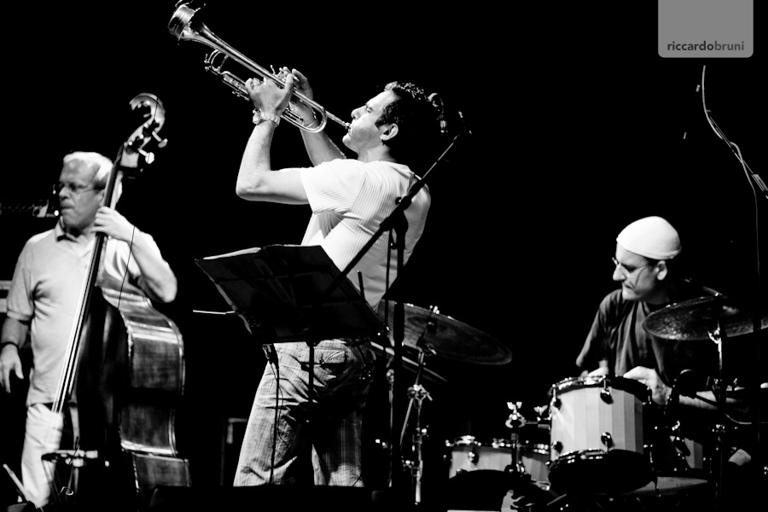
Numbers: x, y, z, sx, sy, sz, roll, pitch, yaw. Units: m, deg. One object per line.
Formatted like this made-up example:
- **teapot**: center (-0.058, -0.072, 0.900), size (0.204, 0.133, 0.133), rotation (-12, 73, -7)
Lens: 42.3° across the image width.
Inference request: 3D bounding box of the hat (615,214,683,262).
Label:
- **hat**: center (1.764, -0.107, 6.536), size (0.303, 0.163, 0.325), rotation (16, 8, 31)

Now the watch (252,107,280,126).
- **watch**: center (-0.678, -0.791, 5.734), size (0.099, 0.073, 0.119), rotation (3, -8, 30)

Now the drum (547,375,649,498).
- **drum**: center (1.252, 1.134, 6.207), size (0.673, 0.648, 0.684), rotation (-1, -22, 4)

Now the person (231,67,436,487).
- **person**: center (-0.276, 0.068, 5.801), size (1.127, 2.500, 0.780), rotation (1, -13, -1)

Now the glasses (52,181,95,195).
- **glasses**: center (-1.906, -0.418, 6.130), size (0.224, 0.106, 0.175), rotation (-2, -1, 11)

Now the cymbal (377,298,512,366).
- **cymbal**: center (0.420, 0.507, 6.144), size (0.563, 0.056, 0.533), rotation (15, -21, 26)

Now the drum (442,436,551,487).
- **drum**: center (0.762, 1.382, 6.712), size (0.706, 0.327, 0.340), rotation (-2, -13, 10)
